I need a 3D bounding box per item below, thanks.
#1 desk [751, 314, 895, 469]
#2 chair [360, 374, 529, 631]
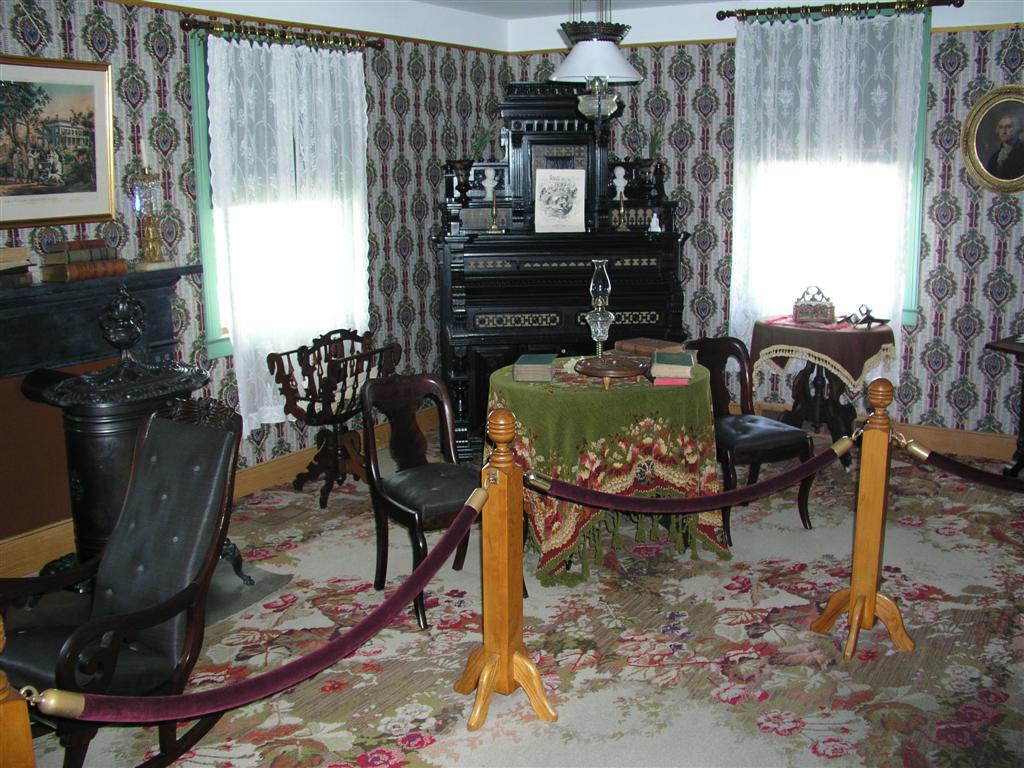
[{"bbox_3d":[2.698,-0.018,6.994,1.281,1.076,1.271,-4,9,1],"label":"desk"},{"bbox_3d":[-0.527,0.624,4.696,0.634,1.325,0.758,-5,11,-20],"label":"chair"}]
